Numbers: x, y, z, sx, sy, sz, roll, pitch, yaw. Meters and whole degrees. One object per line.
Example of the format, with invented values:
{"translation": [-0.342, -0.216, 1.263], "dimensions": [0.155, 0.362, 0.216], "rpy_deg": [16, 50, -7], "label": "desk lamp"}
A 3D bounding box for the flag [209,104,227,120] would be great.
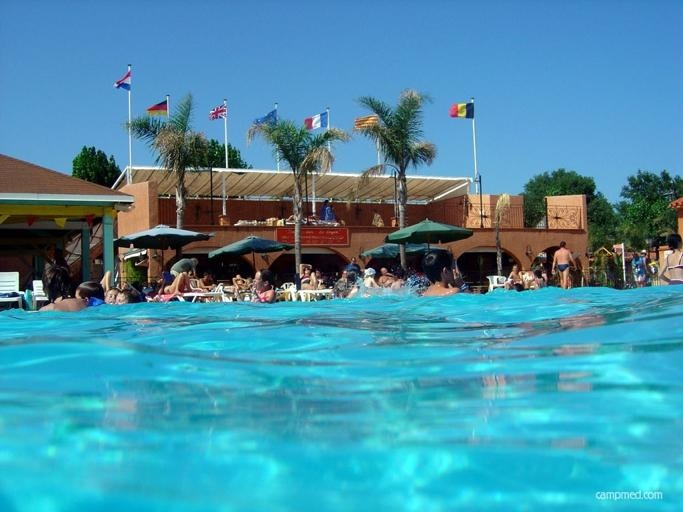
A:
{"translation": [-4.171, -4.877, 25.447], "dimensions": [0.565, 0.502, 1.176], "rpy_deg": [-4, 17, -13], "label": "flag"}

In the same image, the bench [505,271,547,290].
{"translation": [4.393, 0.593, 17.597], "dimensions": [0.641, 0.290, 0.479], "rpy_deg": [-2, 4, -39], "label": "bench"}

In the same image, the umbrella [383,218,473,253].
{"translation": [1.777, -0.368, 14.528], "dimensions": [1.283, 0.678, 1.565], "rpy_deg": [-14, 21, -38], "label": "umbrella"}

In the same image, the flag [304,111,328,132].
{"translation": [-0.816, -4.555, 25.048], "dimensions": [0.680, 0.477, 1.005], "rpy_deg": [-2, 16, -4], "label": "flag"}

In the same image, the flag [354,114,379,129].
{"translation": [0.577, -3.321, 18.504], "dimensions": [0.351, 0.343, 0.862], "rpy_deg": [-11, 19, -33], "label": "flag"}

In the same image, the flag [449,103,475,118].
{"translation": [4.079, -4.890, 25.227], "dimensions": [0.845, 0.480, 0.260], "rpy_deg": [-8, 16, -23], "label": "flag"}
